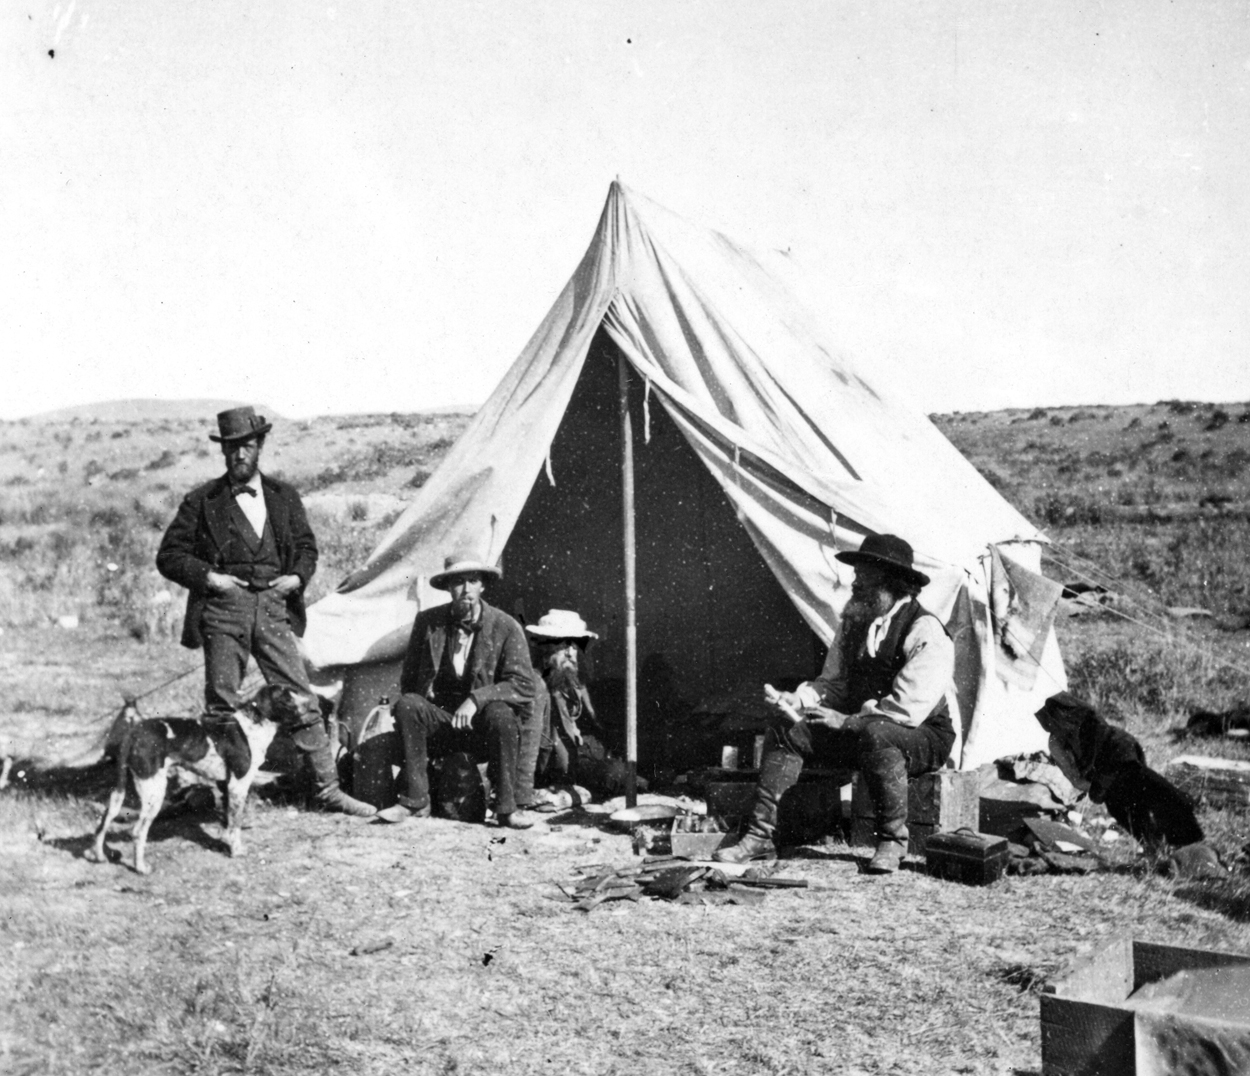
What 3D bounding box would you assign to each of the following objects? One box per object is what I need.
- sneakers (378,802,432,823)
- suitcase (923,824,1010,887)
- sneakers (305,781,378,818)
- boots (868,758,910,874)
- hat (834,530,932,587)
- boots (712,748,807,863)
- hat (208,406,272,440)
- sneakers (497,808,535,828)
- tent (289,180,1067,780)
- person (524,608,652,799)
[{"bbox_3d":[-1.093,1.340,6.511,0.083,0.113,0.242,1,-8,40],"label":"sneakers"},{"bbox_3d":[1.492,1.370,5.715,0.367,0.177,0.295,1,5,9],"label":"suitcase"},{"bbox_3d":[-1.378,1.289,6.530,0.359,0.192,0.137,3,11,10],"label":"sneakers"},{"bbox_3d":[1.157,1.207,5.810,0.169,0.472,0.237,1,4,8],"label":"boots"},{"bbox_3d":[1.251,0.102,6.184,0.287,0.124,0.271,22,-10,-16],"label":"hat"},{"bbox_3d":[0.592,1.180,5.882,0.449,0.502,0.176,-4,6,-39],"label":"boots"},{"bbox_3d":[-1.781,-0.527,6.215,0.191,0.110,0.258,-3,3,5],"label":"hat"},{"bbox_3d":[-0.534,1.367,6.445,0.115,0.061,0.095,10,8,10],"label":"sneakers"},{"bbox_3d":[0.792,-0.512,8.540,3.676,2.995,3.416,-3,-7,16],"label":"tent"},{"bbox_3d":[-0.234,0.922,7.262,0.635,0.984,0.755,0,5,0],"label":"person"}]
